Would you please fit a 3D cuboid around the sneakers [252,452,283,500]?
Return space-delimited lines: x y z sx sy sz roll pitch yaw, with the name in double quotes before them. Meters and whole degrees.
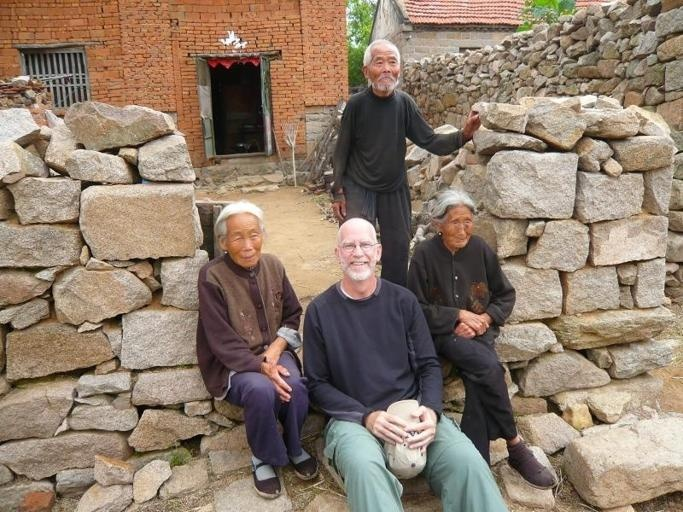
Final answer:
"sneakers" -0.519 1.503 3.761 0.186 0.251 0.221 -8 14 -15

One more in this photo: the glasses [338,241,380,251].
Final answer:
"glasses" 0.117 -0.069 3.619 0.239 0.063 0.066 -5 13 -5

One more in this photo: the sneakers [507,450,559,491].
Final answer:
"sneakers" 1.322 1.507 3.814 0.167 0.243 0.340 -34 33 -31

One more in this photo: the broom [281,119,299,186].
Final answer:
"broom" -1.106 -2.356 12.050 0.346 1.218 0.865 -5 14 -5
